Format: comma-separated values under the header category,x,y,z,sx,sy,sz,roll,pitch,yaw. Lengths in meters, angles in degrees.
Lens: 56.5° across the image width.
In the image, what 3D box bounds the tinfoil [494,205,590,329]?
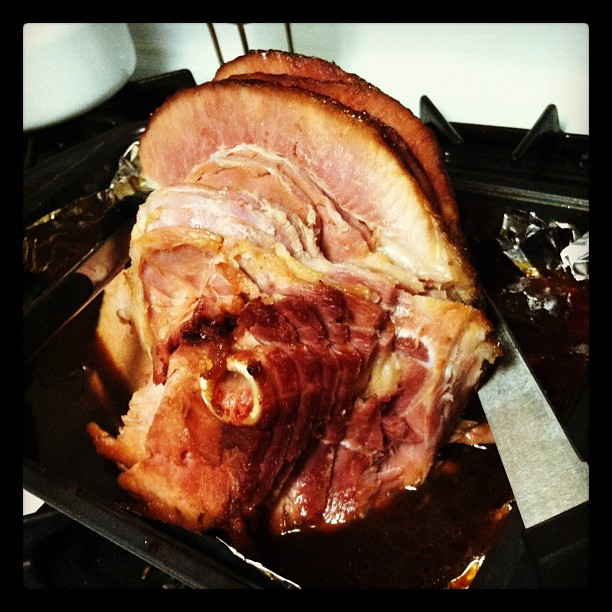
category,x,y,z,sx,sy,sz,roll,pitch,yaw
tinfoil,0.972,-0.184,2.271,0.463,0.444,0.124,21,61,26

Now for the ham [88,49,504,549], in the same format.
category,x,y,z,sx,sy,sz,roll,pitch,yaw
ham,-0.077,0.081,1.989,1.098,1.471,0.477,8,-18,-5
